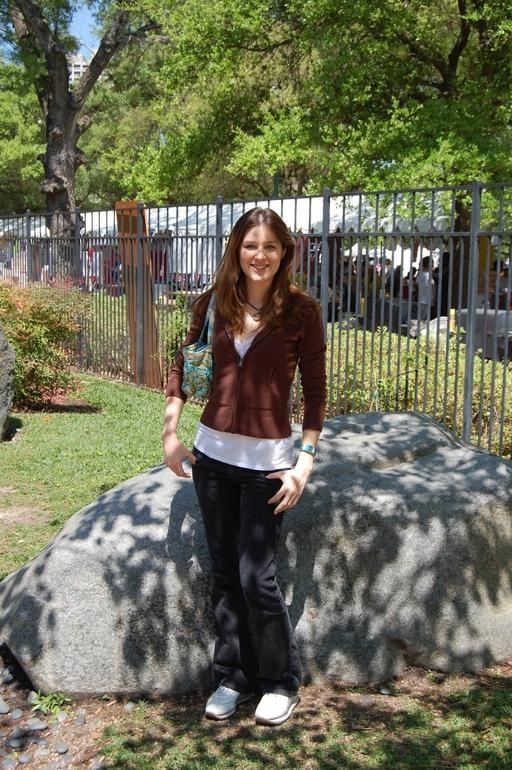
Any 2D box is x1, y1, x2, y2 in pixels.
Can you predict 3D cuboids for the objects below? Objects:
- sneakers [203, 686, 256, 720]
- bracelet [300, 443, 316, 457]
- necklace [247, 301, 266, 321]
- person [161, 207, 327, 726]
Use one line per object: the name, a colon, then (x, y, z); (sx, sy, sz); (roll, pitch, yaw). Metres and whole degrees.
sneakers: (-0.112, 1.149, 2.248); (0.074, 0.078, 0.177); (-3, -8, 32)
bracelet: (0.180, 0.208, 2.050); (0.050, 0.036, 0.053); (1, -13, 33)
necklace: (-0.001, -0.251, 2.090); (0.044, 0.062, 0.025); (4, 10, 26)
person: (-0.053, 0.310, 2.165); (0.561, 1.842, 0.355); (3, 6, 25)
